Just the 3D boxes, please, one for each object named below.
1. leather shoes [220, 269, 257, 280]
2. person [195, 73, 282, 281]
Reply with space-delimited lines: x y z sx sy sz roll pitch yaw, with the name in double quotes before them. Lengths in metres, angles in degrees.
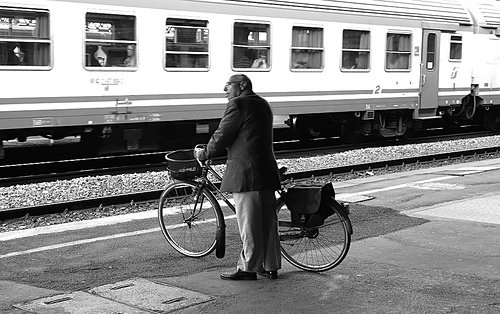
"leather shoes" -0.132 1.486 5.589 0.429 0.185 0.162 5 -5 -1
"person" -0.046 0.261 5.645 0.894 2.554 0.551 0 9 3
